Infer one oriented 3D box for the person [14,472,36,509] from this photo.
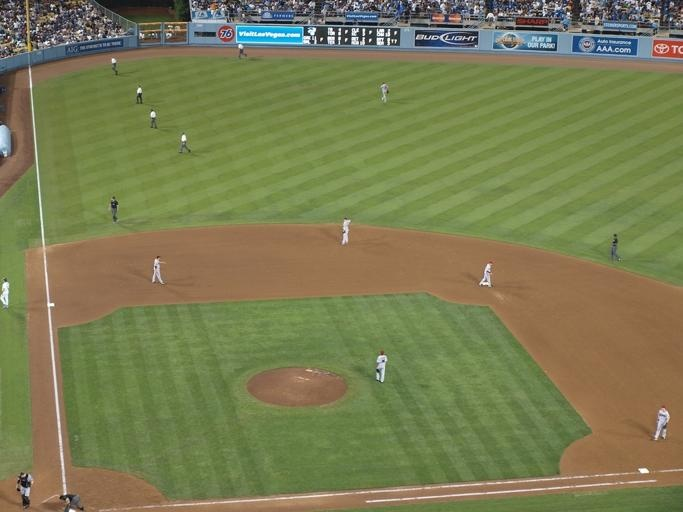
[{"bbox_3d":[-14.440,10.512,47.551,0.686,1.697,1.309,-3,20,-17],"label":"person"}]
